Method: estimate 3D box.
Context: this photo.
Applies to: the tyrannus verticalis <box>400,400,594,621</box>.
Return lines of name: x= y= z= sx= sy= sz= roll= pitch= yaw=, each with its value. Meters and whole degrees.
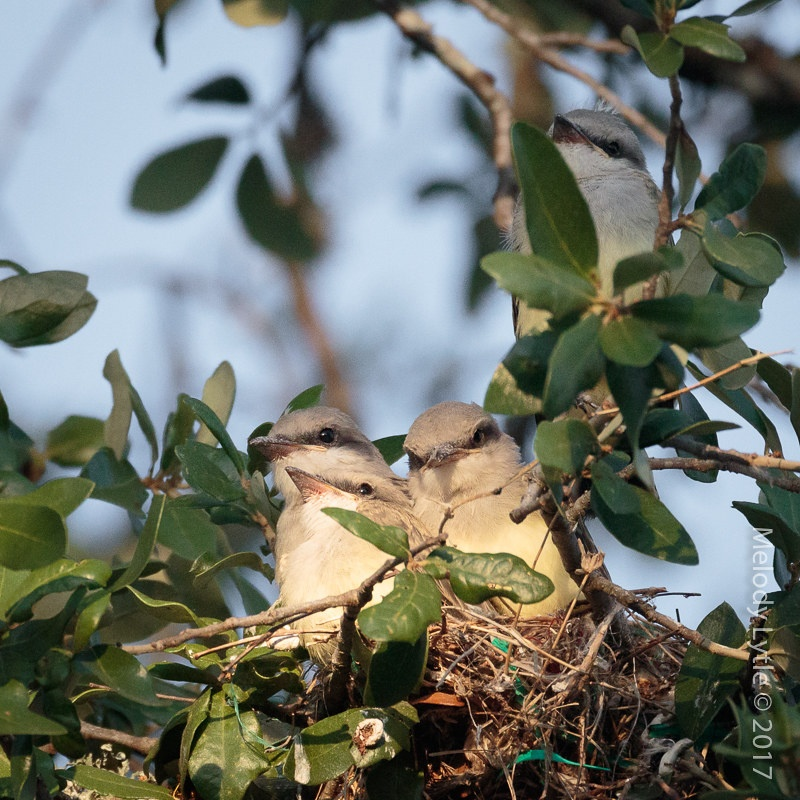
tyrannus verticalis: x=0.445 y=0.392 z=5.643 sx=0.781 sy=0.710 sz=0.429 roll=15 pitch=-33 yaw=-22
